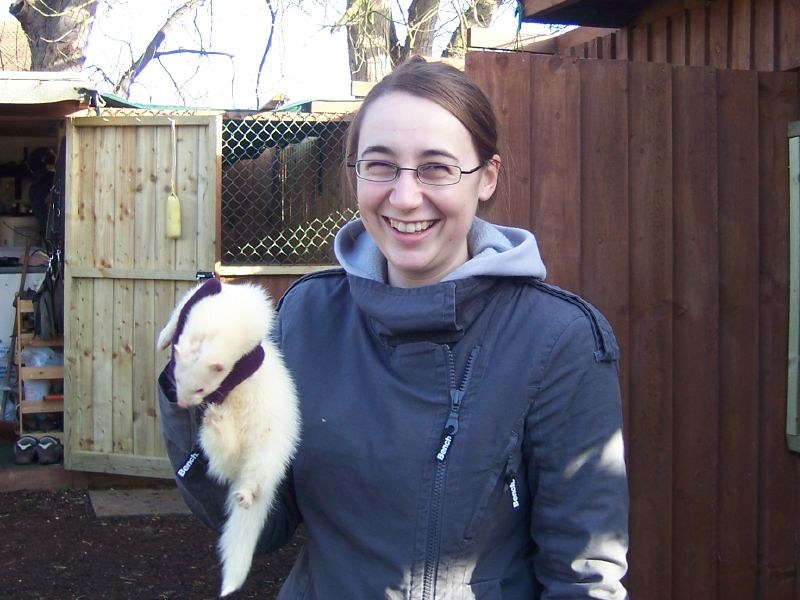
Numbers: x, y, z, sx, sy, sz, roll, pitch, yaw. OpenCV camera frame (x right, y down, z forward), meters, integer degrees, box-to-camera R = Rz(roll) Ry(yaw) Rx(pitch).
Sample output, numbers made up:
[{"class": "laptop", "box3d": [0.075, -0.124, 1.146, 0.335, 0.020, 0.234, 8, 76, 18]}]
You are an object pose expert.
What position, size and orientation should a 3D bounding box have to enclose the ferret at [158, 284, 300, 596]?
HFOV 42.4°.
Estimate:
[{"class": "ferret", "box3d": [-0.958, 0.612, 5.545, 0.739, 1.669, 0.700, 1, 7, -18]}]
